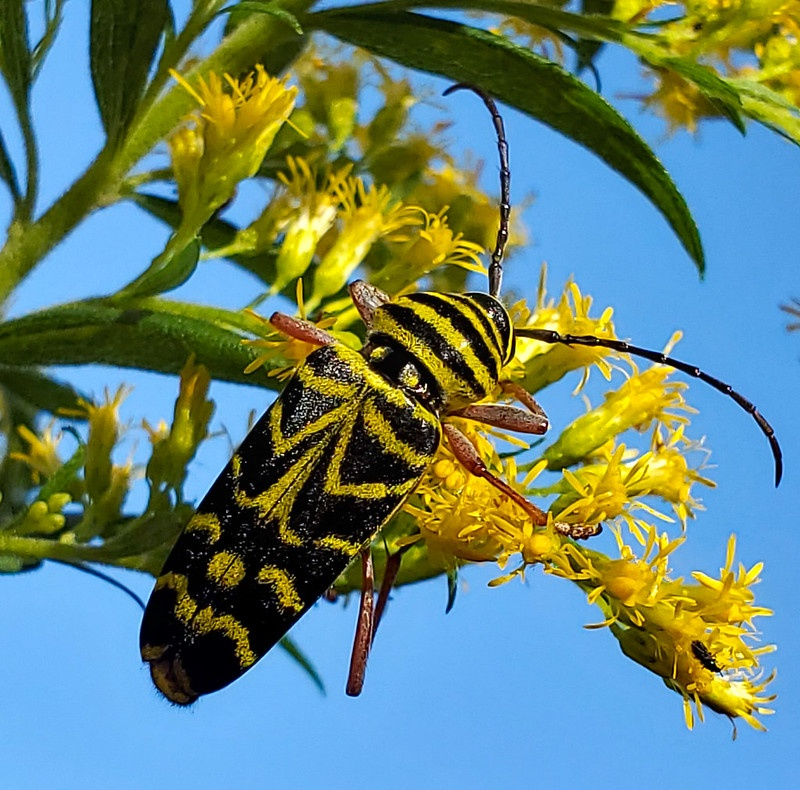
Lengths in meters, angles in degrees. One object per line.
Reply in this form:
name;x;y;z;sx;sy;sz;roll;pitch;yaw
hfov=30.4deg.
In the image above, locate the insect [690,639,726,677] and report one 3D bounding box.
insect;0.608;0.519;2.884;0.052;0.019;0.068;-37;-80;17
